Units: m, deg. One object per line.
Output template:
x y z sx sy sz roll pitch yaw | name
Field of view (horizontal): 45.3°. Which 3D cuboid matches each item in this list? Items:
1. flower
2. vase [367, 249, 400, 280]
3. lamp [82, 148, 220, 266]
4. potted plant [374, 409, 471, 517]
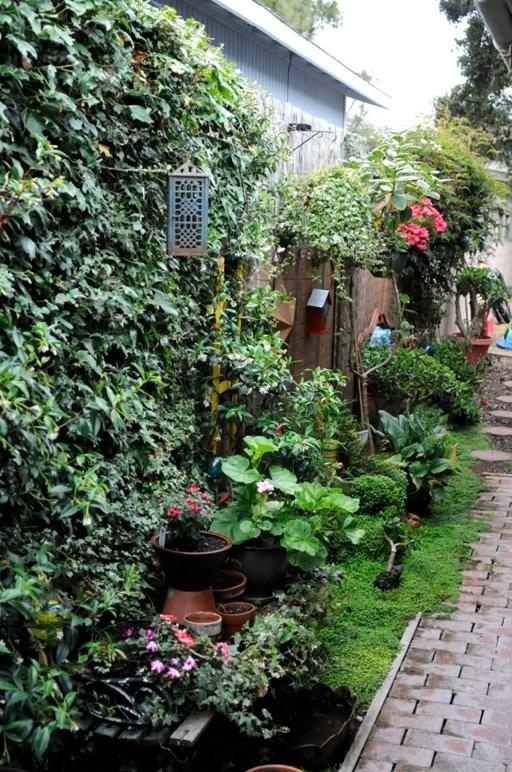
1.381 -1.391 5.222 0.327 0.419 0.498 14 9 32 | flower
1.186 -1.115 5.533 0.285 0.252 0.696 10 8 11 | vase
-0.418 -0.729 2.537 0.470 0.442 0.277 2 5 -2 | lamp
1.346 0.536 4.763 0.831 0.823 0.687 2 -3 28 | potted plant
